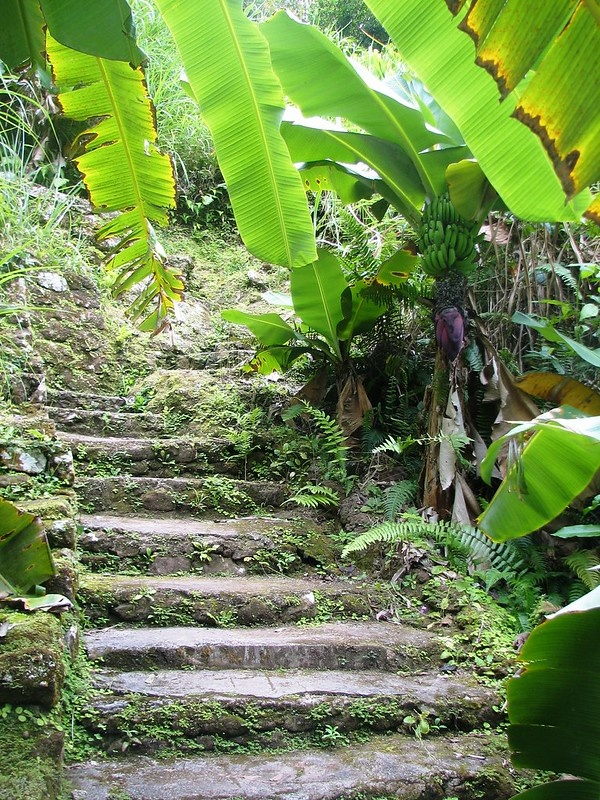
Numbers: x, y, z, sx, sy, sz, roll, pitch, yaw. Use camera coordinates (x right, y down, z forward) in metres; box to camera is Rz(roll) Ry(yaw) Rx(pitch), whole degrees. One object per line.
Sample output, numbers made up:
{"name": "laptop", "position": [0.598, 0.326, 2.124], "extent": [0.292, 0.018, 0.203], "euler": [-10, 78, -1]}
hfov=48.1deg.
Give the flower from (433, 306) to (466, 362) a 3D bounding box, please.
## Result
{"name": "flower", "position": [0.978, -0.443, 4.383], "extent": [0.257, 0.139, 0.402], "euler": [1, 72, 4]}
